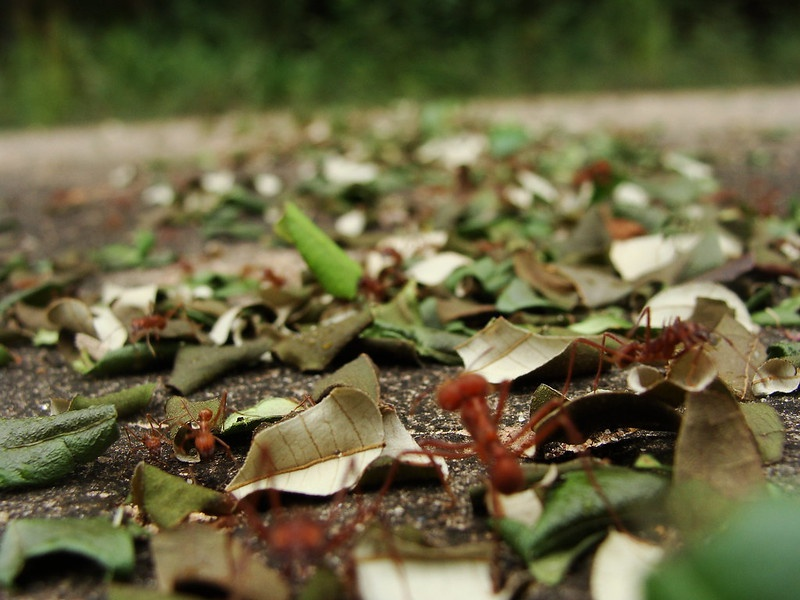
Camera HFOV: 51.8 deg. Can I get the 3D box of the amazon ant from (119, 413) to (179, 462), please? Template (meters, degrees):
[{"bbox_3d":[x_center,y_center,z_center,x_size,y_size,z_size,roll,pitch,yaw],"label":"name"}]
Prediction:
[{"bbox_3d":[-0.645,0.346,2.118,0.100,0.042,0.128,1,22,-41],"label":"amazon ant"}]

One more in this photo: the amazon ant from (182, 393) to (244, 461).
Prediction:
[{"bbox_3d":[-0.494,0.326,2.090,0.132,0.060,0.184,-1,43,-18],"label":"amazon ant"}]

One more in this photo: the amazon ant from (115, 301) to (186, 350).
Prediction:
[{"bbox_3d":[-0.696,0.067,2.351,0.183,0.094,0.087,-14,39,-3],"label":"amazon ant"}]
